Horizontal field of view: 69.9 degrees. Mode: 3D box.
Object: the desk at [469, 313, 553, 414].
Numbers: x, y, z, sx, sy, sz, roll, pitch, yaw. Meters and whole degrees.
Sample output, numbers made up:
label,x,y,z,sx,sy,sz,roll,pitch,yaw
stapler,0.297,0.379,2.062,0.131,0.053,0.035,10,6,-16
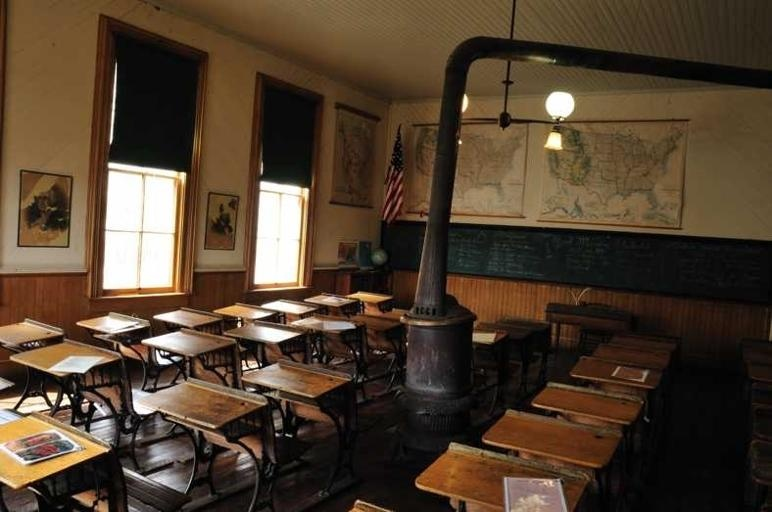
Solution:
label,x,y,z,sx,sy,sz,roll,pitch,yaw
desk,1.925,1.441,8.322,0.862,1.033,1.700,2,7,31
